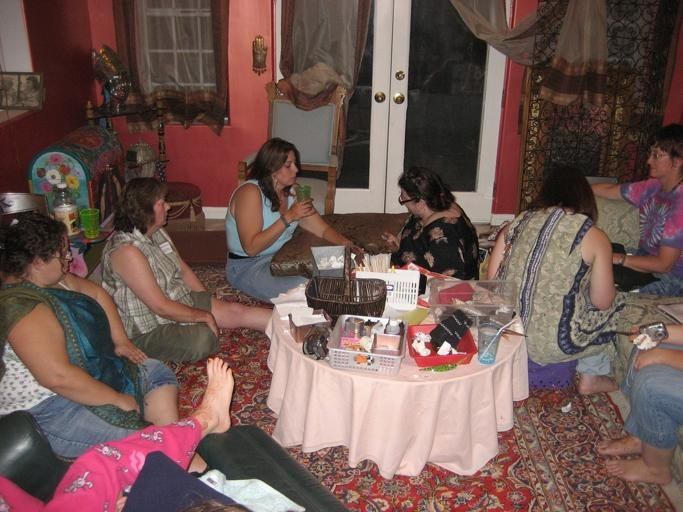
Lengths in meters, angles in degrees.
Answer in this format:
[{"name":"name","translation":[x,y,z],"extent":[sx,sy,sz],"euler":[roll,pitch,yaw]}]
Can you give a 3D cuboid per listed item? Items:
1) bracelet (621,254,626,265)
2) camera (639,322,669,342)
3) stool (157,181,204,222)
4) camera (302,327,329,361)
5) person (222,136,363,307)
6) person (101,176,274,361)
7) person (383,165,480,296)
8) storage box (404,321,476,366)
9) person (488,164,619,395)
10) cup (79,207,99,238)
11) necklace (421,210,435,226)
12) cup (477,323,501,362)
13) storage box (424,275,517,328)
[{"name":"bracelet","translation":[1.792,0.022,3.389],"extent":[0.012,0.046,0.031],"euler":[8,3,-12]},{"name":"camera","translation":[1.612,0.392,2.762],"extent":[0.113,0.090,0.039],"euler":[-11,15,14]},{"name":"stool","translation":[-1.395,-0.467,4.605],"extent":[0.349,0.266,0.364],"euler":[10,29,14]},{"name":"camera","translation":[-0.121,0.424,2.596],"extent":[0.160,0.175,0.124],"euler":[-2,-20,7]},{"name":"person","translation":[-0.403,-0.281,4.016],"extent":[1.060,1.599,0.691],"euler":[7,38,2]},{"name":"person","translation":[-0.730,0.006,3.646],"extent":[1.464,1.147,0.784],"euler":[3,33,-14]},{"name":"person","translation":[0.612,-0.004,3.740],"extent":[0.592,1.163,0.833],"euler":[-1,27,0]},{"name":"storage box","translation":[0.484,0.436,2.571],"extent":[0.338,0.131,0.261],"euler":[3,18,7]},{"name":"person","translation":[1.330,0.150,3.283],"extent":[0.807,1.352,0.805],"euler":[4,17,24]},{"name":"cup","translation":[-1.735,-0.223,3.660],"extent":[0.140,0.204,0.139],"euler":[5,22,-2]},{"name":"necklace","translation":[0.563,-0.253,3.495],"extent":[0.068,0.078,0.079],"euler":[-13,10,-13]},{"name":"cup","translation":[0.700,0.418,2.551],"extent":[0.113,0.179,0.119],"euler":[0,23,0]},{"name":"storage box","translation":[0.666,0.231,2.724],"extent":[0.328,0.118,0.230],"euler":[0,33,-1]}]
